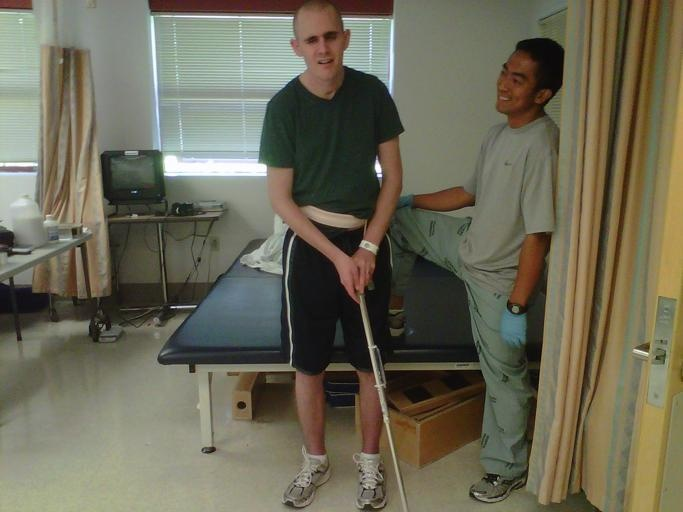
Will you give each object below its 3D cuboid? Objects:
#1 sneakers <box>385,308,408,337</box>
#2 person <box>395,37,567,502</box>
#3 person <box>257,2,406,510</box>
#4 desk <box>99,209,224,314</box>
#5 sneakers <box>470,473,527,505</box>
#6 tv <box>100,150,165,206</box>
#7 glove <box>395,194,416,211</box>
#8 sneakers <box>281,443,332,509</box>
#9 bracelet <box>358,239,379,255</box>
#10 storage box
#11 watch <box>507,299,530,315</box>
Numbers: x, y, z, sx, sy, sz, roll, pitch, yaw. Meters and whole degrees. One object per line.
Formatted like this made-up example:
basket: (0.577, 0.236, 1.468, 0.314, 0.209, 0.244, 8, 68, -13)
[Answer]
sneakers: (0.280, 0.344, 3.106, 0.093, 0.139, 0.135, -1, 8, 0)
person: (0.638, 0.053, 2.852, 0.457, 2.022, 0.828, -10, 16, -35)
person: (-0.032, 0.036, 2.655, 0.600, 2.156, 0.392, 0, 13, 4)
desk: (-1.469, -0.020, 5.117, 0.860, 0.853, 0.886, 0, 15, 0)
sneakers: (0.711, 1.048, 2.813, 0.248, 0.125, 0.109, -14, 18, -8)
tv: (-1.587, -0.617, 4.852, 0.559, 0.574, 0.384, -2, 7, -11)
glove: (0.342, -0.297, 3.236, 0.097, 0.102, 0.038, -3, 46, 1)
sneakers: (-0.149, 1.013, 2.831, 0.117, 0.206, 0.324, 2, 11, 25)
bracelet: (0.122, -0.040, 2.609, 0.078, 0.050, 0.080, 29, -2, -44)
storage box: (0.447, 0.877, 3.004, 0.482, 0.212, 0.337, -10, 15, -30)
watch: (0.772, 0.221, 2.663, 0.088, 0.066, 0.051, 2, 13, 16)
